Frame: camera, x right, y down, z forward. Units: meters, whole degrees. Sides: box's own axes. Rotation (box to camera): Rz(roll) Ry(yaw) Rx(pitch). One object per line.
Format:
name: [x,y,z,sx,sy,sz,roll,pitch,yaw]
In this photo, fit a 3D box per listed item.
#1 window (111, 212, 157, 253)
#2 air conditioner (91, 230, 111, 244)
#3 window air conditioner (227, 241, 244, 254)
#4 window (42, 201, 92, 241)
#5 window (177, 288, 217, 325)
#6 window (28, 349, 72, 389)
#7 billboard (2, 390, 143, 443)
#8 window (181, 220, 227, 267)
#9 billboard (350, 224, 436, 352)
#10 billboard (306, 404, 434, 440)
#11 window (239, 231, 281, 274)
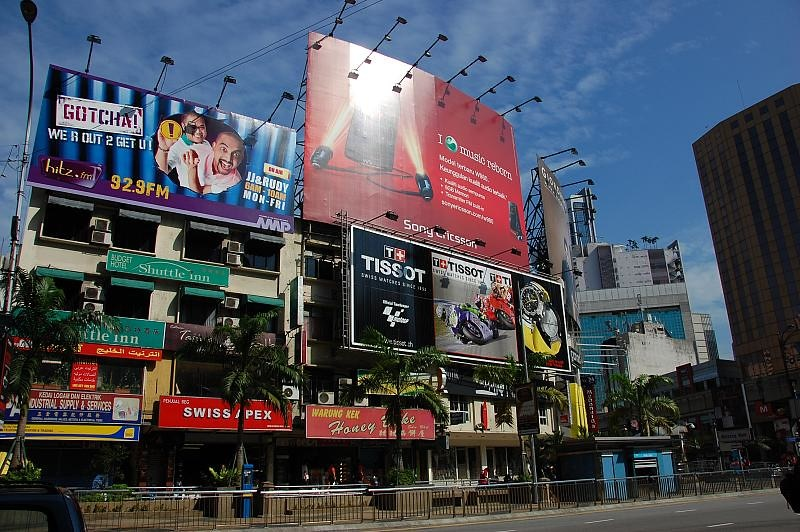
window: [-19.621,-2.752,49.494,3.062,2.694,2.264,8,-16,-36]
air conditioner: [-21.227,-2.083,47.062,1.277,0.934,0.341,8,-20,-29]
window air conditioner: [-12.744,-1.471,51.261,1.275,0.893,0.850,15,-29,-40]
window: [-23.708,-3.214,46.804,2.391,2.278,0.765,15,-36,-35]
window: [-14.694,2.781,50.095,3.645,3.390,1.222,6,-5,21]
window: [-23.483,7.471,44.137,1.552,2.809,2.867,-32,-32,28]
billboard: [-21.223,9.591,42.195,6.616,2.725,0.859,5,-26,-21]
window: [-15.176,-2.216,51.324,3.006,2.819,1.494,10,10,-34]
billboard: [-0.778,2.077,53.771,9.263,9.308,0.928,13,-26,-34]
billboard: [-2.197,11.900,51.260,10.908,2.549,1.507,-7,2,28]
window: [-11.100,-1.339,53.610,3.116,2.814,1.614,12,-5,-35]
